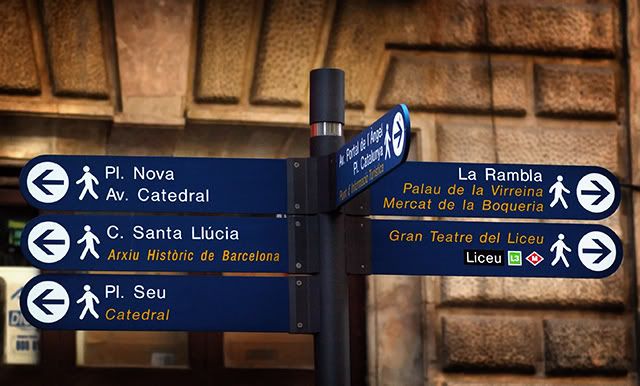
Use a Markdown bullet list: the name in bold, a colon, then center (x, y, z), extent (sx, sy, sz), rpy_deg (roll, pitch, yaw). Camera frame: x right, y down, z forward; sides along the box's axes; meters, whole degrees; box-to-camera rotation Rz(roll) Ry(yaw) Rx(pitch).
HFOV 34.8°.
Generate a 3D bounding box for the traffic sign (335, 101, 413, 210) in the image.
- **traffic sign**: center (0.346, -0.256, 7.029), extent (0.108, 0.617, 0.695), rpy_deg (9, -14, -39)

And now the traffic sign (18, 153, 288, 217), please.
- **traffic sign**: center (-1.203, -0.059, 7.413), extent (1.928, 0.435, 0.181), rpy_deg (0, -11, 0)

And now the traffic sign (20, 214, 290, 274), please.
- **traffic sign**: center (-1.086, 0.342, 7.354), extent (2.112, 0.447, 0.031), rpy_deg (0, 28, -4)

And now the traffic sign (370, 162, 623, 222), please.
- **traffic sign**: center (1.352, -0.007, 7.501), extent (2.159, 0.436, 0.028), rpy_deg (0, 2, -23)
